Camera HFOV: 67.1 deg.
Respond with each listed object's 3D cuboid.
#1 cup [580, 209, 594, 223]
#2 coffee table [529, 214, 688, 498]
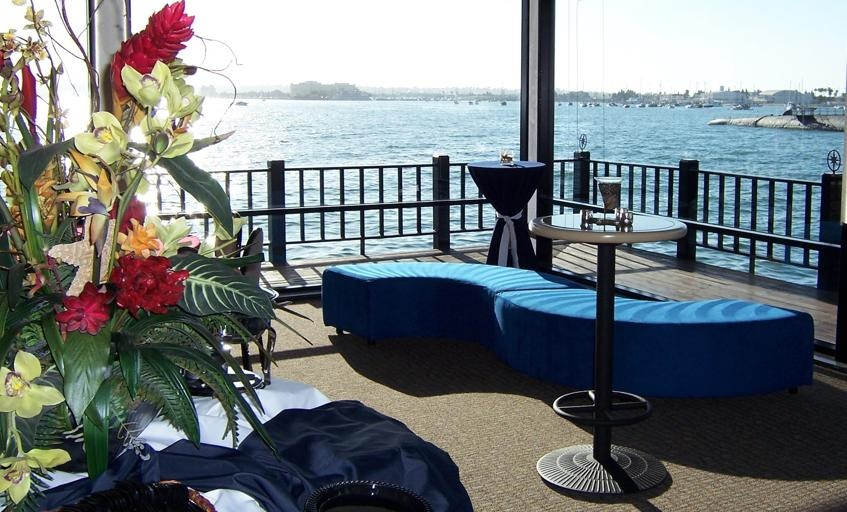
[{"bbox_3d":[0.774,-0.182,3.005,0.075,0.073,0.044,-5,10,-26],"label":"cup"},{"bbox_3d":[0.874,0.402,3.145,0.706,1.274,0.748,2,16,13],"label":"coffee table"}]
